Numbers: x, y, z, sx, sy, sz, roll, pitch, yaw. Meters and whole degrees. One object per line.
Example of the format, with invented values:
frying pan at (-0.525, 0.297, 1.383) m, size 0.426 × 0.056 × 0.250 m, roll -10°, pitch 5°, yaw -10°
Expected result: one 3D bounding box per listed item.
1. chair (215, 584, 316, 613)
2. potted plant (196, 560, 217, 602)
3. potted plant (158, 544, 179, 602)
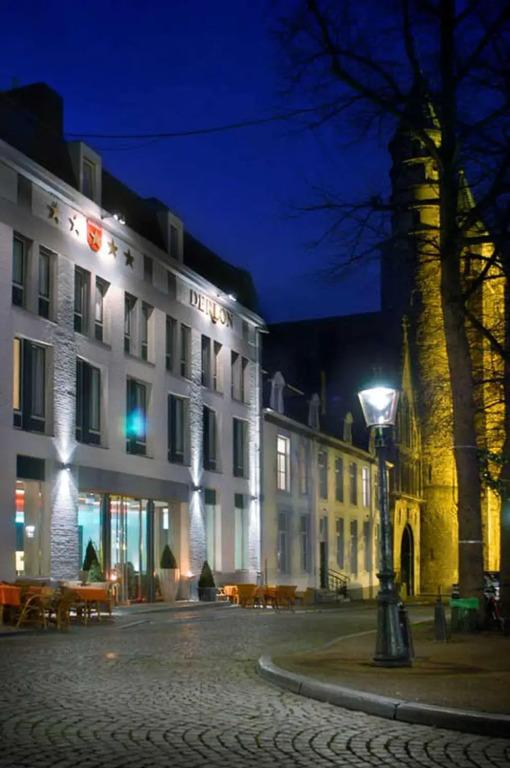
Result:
chair at (0.110, 7.030, 28.072) m, size 1.352 × 0.886 × 3.121 m, roll 12°, pitch -20°, yaw -41°
potted plant at (-1.693, 6.739, 29.055) m, size 0.578 × 1.341 × 0.574 m, roll 1°, pitch -13°, yaw -8°
potted plant at (-2.828, 6.188, 27.680) m, size 0.627 × 1.756 × 1.115 m, roll 1°, pitch -14°, yaw -7°
